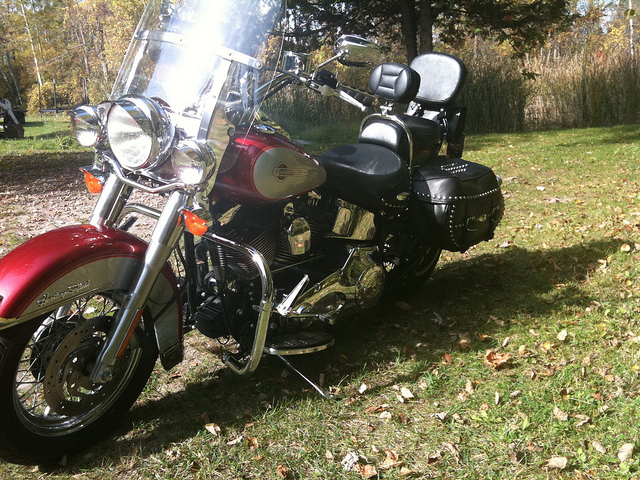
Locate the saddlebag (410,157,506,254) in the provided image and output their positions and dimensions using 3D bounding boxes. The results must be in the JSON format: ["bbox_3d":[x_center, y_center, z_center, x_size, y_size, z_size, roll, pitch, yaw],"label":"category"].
[{"bbox_3d":[1.123,-0.291,4.541,0.635,0.701,0.946,15,24,42],"label":"saddlebag"}]

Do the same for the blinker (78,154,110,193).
[{"bbox_3d":[-1.359,-0.435,3.332,0.128,0.201,0.235,-38,-4,-32],"label":"blinker"}]
